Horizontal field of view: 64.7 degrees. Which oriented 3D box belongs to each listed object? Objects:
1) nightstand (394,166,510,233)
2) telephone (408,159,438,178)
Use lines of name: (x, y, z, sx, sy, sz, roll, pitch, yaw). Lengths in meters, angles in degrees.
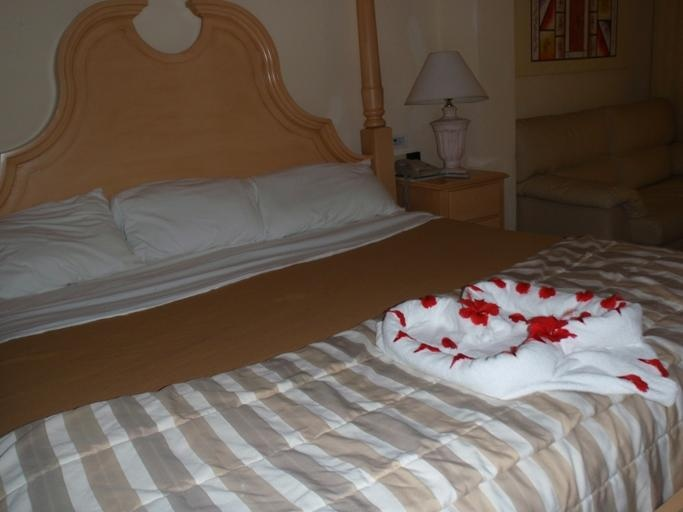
nightstand: (0.709, -0.399, 3.542, 0.436, 0.547, 0.608, 10, 18, 41)
telephone: (0.519, -0.576, 3.572, 0.130, 0.049, 0.167, -14, 27, -23)
